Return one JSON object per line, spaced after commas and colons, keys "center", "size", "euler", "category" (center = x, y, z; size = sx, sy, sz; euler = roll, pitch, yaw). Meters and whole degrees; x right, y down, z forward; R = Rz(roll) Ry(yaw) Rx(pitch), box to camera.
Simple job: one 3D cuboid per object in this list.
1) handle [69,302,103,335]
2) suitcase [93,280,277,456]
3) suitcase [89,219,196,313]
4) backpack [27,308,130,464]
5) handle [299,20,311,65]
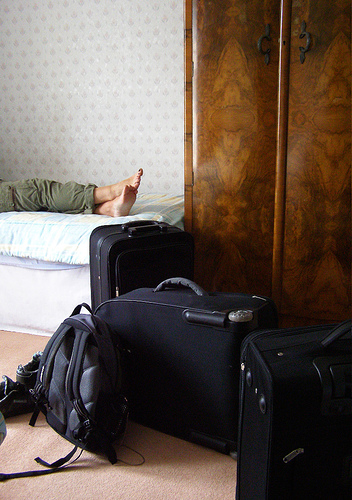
{"center": [-0.225, 0.183, 1.171], "size": [0.064, 0.096, 0.094], "euler": [2, 2, -42], "category": "handle"}
{"center": [0.030, 0.278, 1.185], "size": [0.444, 0.400, 0.252], "euler": [3, 11, 34], "category": "suitcase"}
{"center": [-0.122, 0.056, 1.442], "size": [0.251, 0.347, 0.179], "euler": [-8, 18, -25], "category": "suitcase"}
{"center": [-0.236, 0.352, 1.079], "size": [0.277, 0.308, 0.161], "euler": [17, 10, 43], "category": "backpack"}
{"center": [0.459, -0.743, 1.534], "size": [0.041, 0.144, 0.016], "euler": [5, 10, 27], "category": "handle"}
